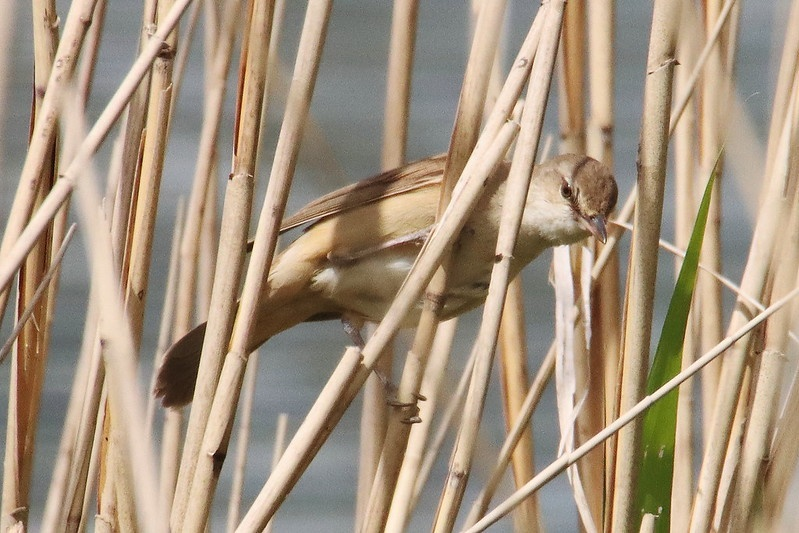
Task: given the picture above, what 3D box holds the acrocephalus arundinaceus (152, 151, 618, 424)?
[{"bbox_3d":[-0.037,0.008,4.122,1.332,0.629,0.471,-5,-46,44],"label":"acrocephalus arundinaceus"}]
